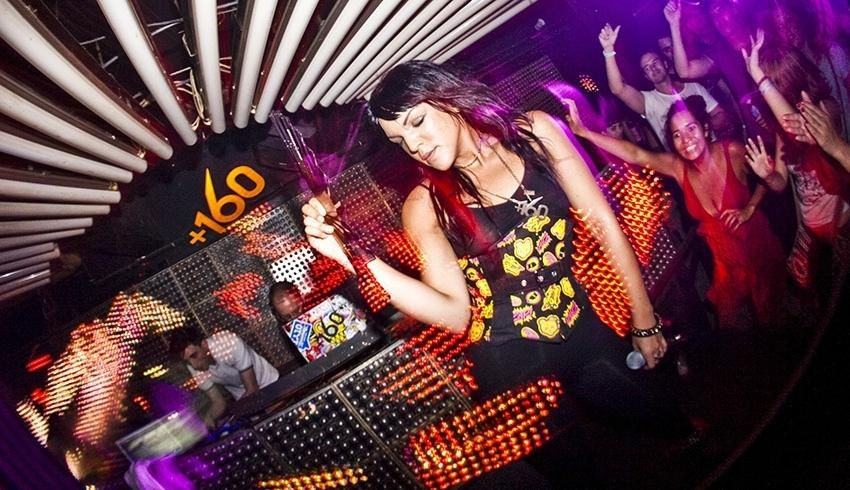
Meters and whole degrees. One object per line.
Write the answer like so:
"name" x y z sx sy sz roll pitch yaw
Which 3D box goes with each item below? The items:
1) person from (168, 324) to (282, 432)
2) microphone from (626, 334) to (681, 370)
"person" -1.833 1.055 4.536 0.778 0.883 0.196 -29 -3 8
"microphone" 1.776 0.817 3.980 0.351 0.265 0.159 -43 -17 9
